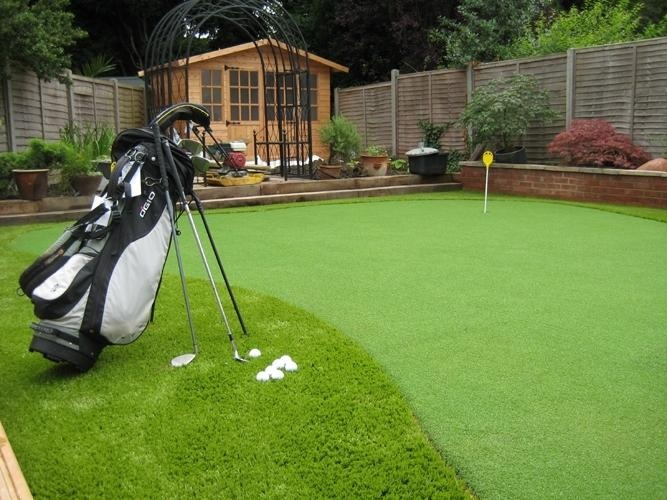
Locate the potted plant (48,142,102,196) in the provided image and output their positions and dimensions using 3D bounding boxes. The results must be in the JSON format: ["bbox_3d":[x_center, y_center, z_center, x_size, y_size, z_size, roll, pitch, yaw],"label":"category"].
[{"bbox_3d":[-4.352,-1.320,8.618,0.730,1.094,0.958,-7,10,-21],"label":"potted plant"}]

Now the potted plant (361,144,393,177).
[{"bbox_3d":[0.959,-2.060,11.458,0.670,0.631,1.742,0,12,3],"label":"potted plant"}]

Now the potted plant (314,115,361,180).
[{"bbox_3d":[0.153,-2.327,11.196,0.953,1.315,1.368,0,11,3],"label":"potted plant"}]

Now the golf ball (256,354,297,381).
[{"bbox_3d":[-0.315,0.663,2.769,0.099,0.051,0.172,10,23,31],"label":"golf ball"}]

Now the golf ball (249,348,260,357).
[{"bbox_3d":[-0.470,0.609,2.994,0.076,0.034,0.097,-4,12,-15],"label":"golf ball"}]

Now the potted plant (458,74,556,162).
[{"bbox_3d":[3.567,-2.692,10.243,1.782,1.675,1.264,5,13,27],"label":"potted plant"}]
